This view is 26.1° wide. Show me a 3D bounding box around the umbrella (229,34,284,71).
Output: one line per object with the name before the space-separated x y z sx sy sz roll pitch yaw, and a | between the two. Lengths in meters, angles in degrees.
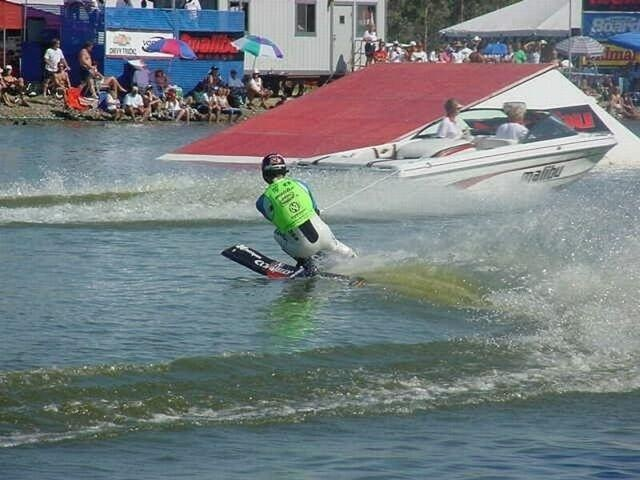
umbrella | -1.770 -5.144 38.251 1.108 0.648 0.993 19 13 0

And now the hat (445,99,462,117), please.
hat | 2.272 -2.345 24.422 0.410 0.303 0.277 -8 24 -13

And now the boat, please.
boat | 1.547 -1.393 23.652 7.155 1.261 1.874 -5 14 -19

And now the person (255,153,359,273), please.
person | -0.420 -0.305 19.294 0.767 2.093 0.785 -48 16 -12
